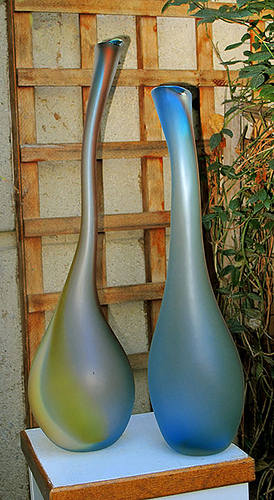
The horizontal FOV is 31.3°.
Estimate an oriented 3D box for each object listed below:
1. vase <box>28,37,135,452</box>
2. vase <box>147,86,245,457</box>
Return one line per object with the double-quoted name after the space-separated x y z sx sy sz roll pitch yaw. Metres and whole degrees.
-0.078 -0.016 0.718 0.176 0.617 0.103 -4 3 -18 "vase"
0.070 0.030 0.679 0.112 0.512 0.083 -1 4 39 "vase"
